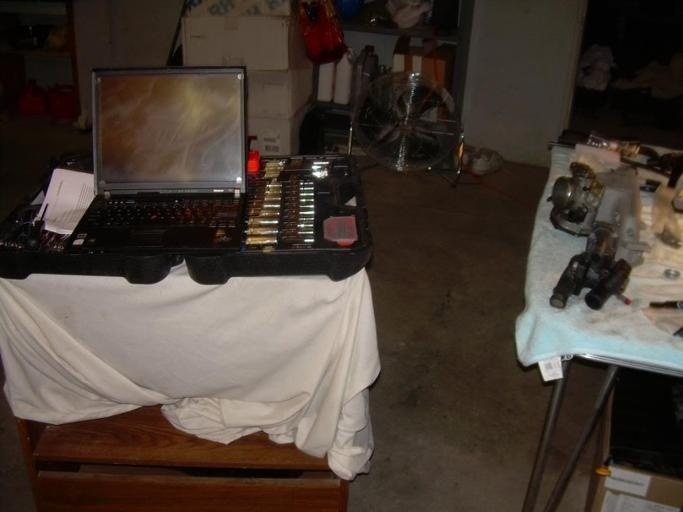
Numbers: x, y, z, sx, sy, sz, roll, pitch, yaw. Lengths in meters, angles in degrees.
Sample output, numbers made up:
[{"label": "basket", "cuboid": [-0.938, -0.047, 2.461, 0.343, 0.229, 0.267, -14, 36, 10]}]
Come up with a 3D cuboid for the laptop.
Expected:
[{"label": "laptop", "cuboid": [-0.593, -0.228, 2.002, 0.607, 0.505, 0.567, -2, 40, -2]}]

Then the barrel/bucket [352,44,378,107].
[{"label": "barrel/bucket", "cuboid": [0.171, -1.318, 4.086, 0.186, 0.422, 0.306, 3, 19, 3]}]

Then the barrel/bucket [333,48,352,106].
[{"label": "barrel/bucket", "cuboid": [0.011, -1.315, 4.045, 0.124, 0.394, 0.228, 5, 32, 4]}]
